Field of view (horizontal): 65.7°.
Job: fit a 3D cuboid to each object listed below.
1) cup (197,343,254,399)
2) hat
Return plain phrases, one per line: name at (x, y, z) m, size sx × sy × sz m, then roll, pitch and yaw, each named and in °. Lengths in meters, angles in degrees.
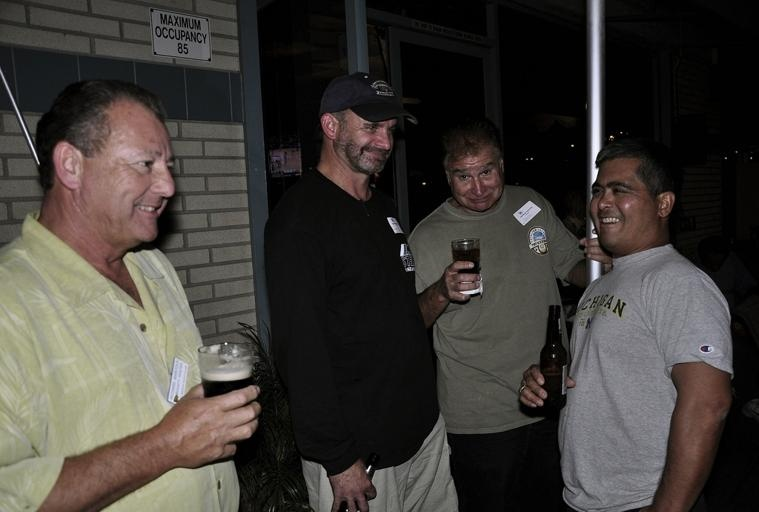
cup at (-0.632, 0.453, 2.422) m, size 0.226 × 0.224 × 0.217 m, roll -3°, pitch -3°, yaw 0°
hat at (-0.063, -0.920, 3.397) m, size 0.410 × 0.272 × 0.559 m, roll -9°, pitch 17°, yaw -38°
